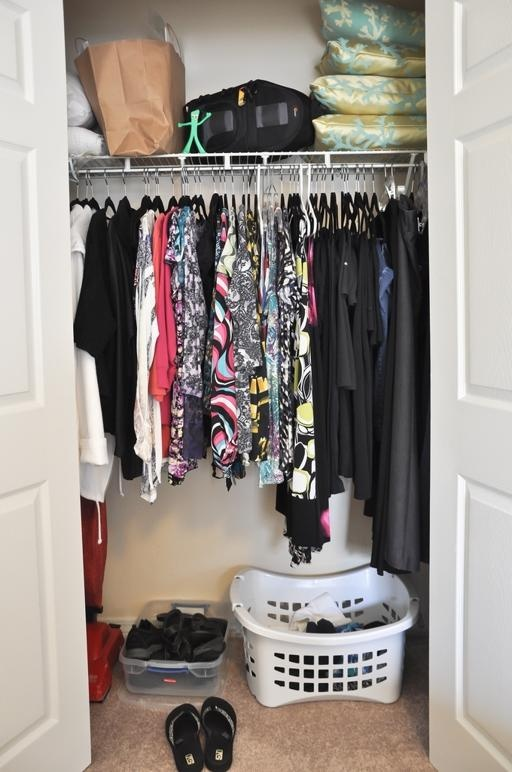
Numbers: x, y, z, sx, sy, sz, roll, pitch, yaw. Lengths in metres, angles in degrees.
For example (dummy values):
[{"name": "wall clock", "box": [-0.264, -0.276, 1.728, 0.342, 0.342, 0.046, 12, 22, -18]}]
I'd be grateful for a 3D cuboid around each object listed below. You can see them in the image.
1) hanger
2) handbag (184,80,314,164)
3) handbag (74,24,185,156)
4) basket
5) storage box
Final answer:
[{"name": "hanger", "box": [-0.052, -0.617, 1.984, 1.187, 0.262, 0.508, 1, 10, 7]}, {"name": "handbag", "box": [-0.002, -0.828, 1.880, 0.313, 0.257, 0.143, -1, 8, 5]}, {"name": "handbag", "box": [-0.394, -0.934, 1.893, 0.280, 0.400, 0.222, -15, 27, -25]}, {"name": "basket", "box": [0.220, 0.798, 1.928, 0.464, 0.320, 0.398, -3, 8, -1]}, {"name": "storage box", "box": [-0.263, 0.858, 2.057, 0.326, 0.151, 0.473, -1, 10, -3]}]
